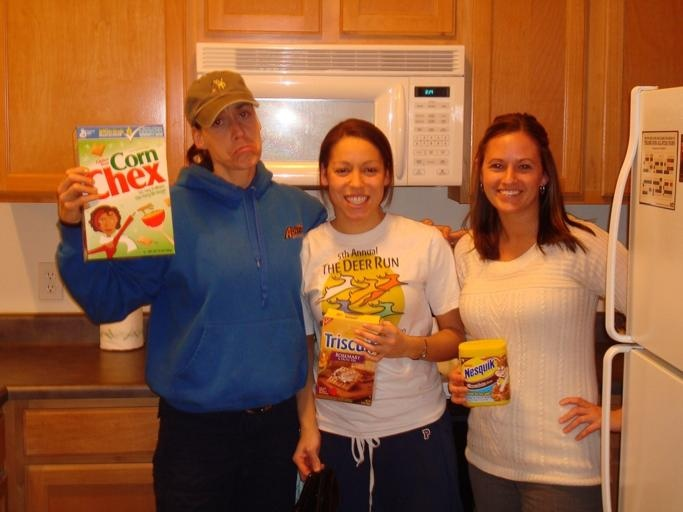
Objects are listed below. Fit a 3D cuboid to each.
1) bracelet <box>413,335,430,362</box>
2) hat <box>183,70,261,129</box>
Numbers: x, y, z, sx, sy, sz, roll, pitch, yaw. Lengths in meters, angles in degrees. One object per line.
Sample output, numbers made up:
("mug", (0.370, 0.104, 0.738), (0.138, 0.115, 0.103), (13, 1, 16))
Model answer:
("bracelet", (0.219, 0.259, 1.638), (0.021, 0.059, 0.049), (-1, -18, -4))
("hat", (-0.344, -0.442, 1.638), (0.154, 0.145, 0.150), (-15, 18, -33))
